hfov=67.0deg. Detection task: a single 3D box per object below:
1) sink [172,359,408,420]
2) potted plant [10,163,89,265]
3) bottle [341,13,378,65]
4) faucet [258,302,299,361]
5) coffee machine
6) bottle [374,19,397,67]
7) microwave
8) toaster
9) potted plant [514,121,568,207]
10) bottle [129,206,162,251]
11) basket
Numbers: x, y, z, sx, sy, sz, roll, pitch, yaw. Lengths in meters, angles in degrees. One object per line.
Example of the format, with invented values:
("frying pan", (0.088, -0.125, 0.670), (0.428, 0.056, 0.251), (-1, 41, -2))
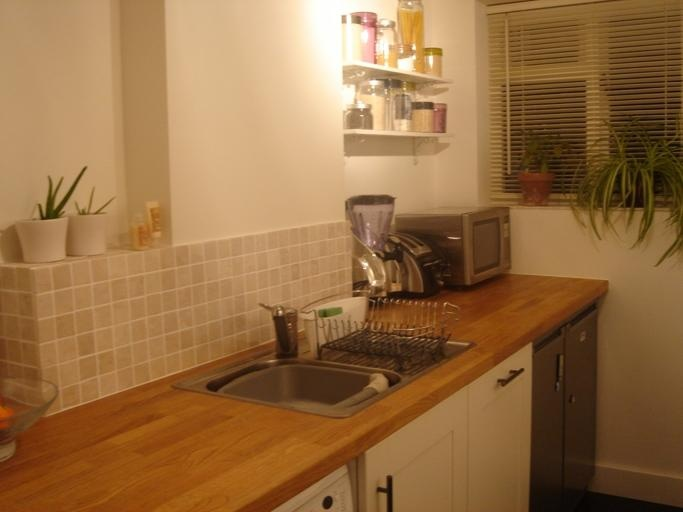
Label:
("sink", (-0.085, 0.502, 1.915), (0.605, 0.135, 0.669), (21, -25, -40))
("potted plant", (-0.791, -0.123, 1.457), (0.126, 0.262, 0.245), (4, 10, 26))
("bottle", (0.091, -1.007, 2.425), (0.110, 0.256, 0.312), (3, 10, 23))
("faucet", (-0.211, 0.252, 1.855), (0.118, 0.195, 0.180), (-1, 9, -1))
("coffee machine", (0.153, -0.068, 2.488), (0.262, 0.439, 0.492), (-1, 9, 2))
("bottle", (0.236, -1.060, 2.592), (0.087, 0.253, 0.251), (2, 9, 17))
("microwave", (0.679, -0.065, 3.021), (0.445, 0.340, 0.624), (1, 8, 34))
("toaster", (0.325, 0.048, 2.722), (0.367, 0.287, 0.207), (2, 10, 38))
("potted plant", (1.278, -0.564, 3.279), (0.274, 0.471, 0.297), (2, 10, 19))
("bottle", (-0.605, -0.096, 1.602), (0.071, 0.140, 0.106), (-1, 9, 1))
("basket", (0.201, 0.295, 1.952), (0.324, 0.110, 0.361), (3, 7, 29))
